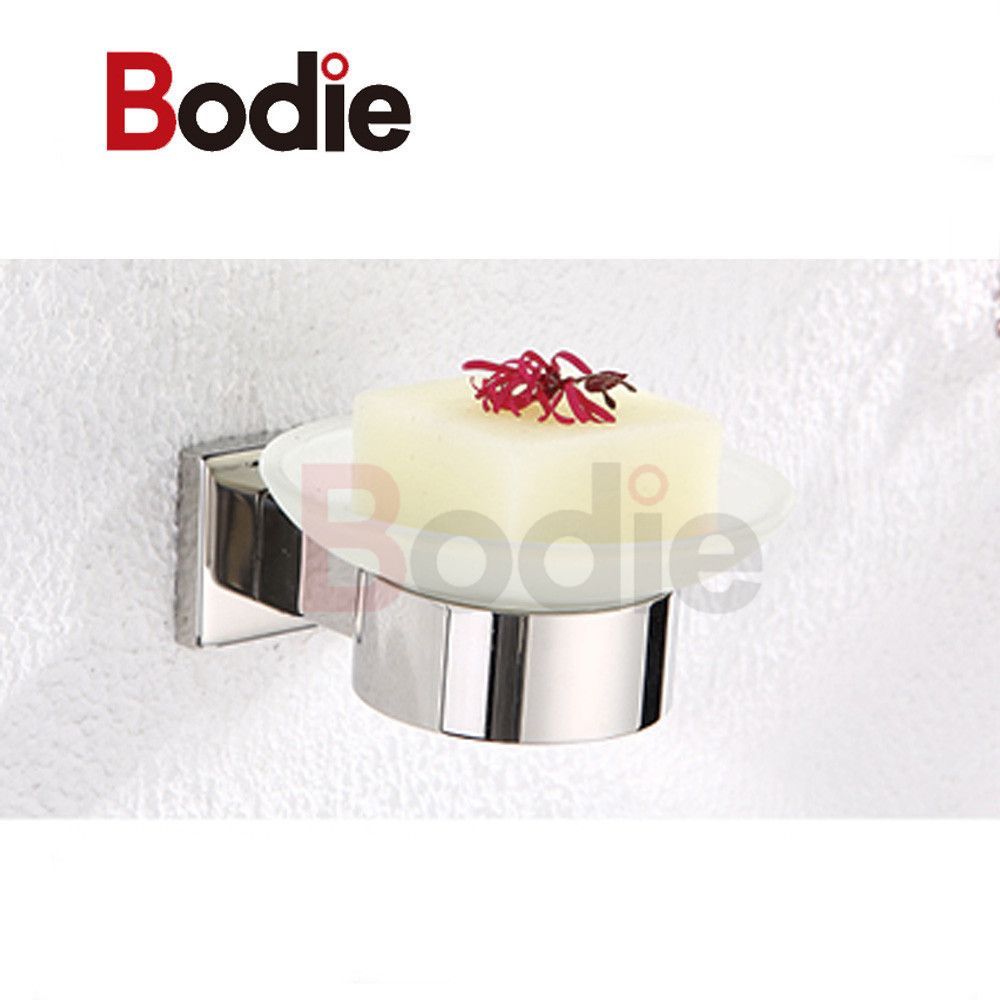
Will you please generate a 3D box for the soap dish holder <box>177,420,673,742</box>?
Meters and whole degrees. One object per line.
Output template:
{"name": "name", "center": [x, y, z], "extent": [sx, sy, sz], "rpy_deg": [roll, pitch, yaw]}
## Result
{"name": "soap dish holder", "center": [-0.042, 0.007, 0.521], "extent": [0.186, 0.090, 0.133], "rpy_deg": [14, 13, 38]}
